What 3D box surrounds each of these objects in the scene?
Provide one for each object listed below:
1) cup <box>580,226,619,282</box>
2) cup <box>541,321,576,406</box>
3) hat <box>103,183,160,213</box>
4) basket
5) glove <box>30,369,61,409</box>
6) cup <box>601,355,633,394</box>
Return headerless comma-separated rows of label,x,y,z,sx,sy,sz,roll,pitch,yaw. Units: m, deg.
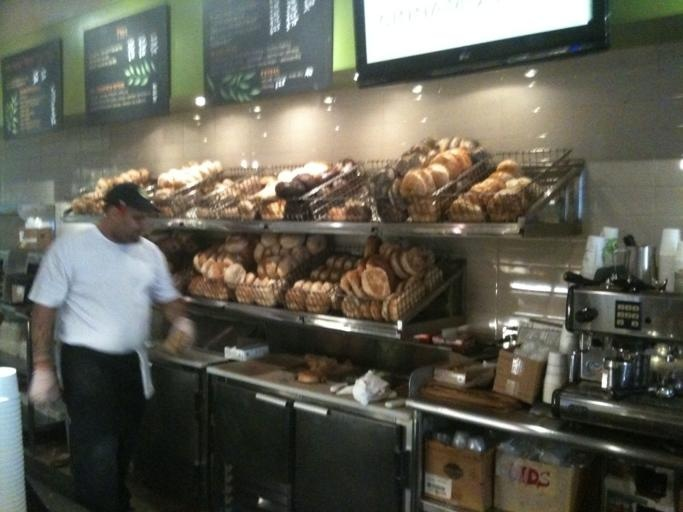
cup,1.272,-0.018,2.827,0.204,0.234,0.114,-7,7,-40
cup,1.067,0.542,2.823,0.155,0.354,0.192,0,5,19
hat,-1.163,-0.322,3.173,0.227,0.130,0.160,1,8,-9
basket,0.177,-0.123,3.583,2.422,0.955,0.661,1,6,33
glove,-1.547,0.683,2.986,0.121,0.210,0.079,0,-10,-44
cup,1.245,0.527,2.608,0.142,0.176,0.147,0,-2,0
